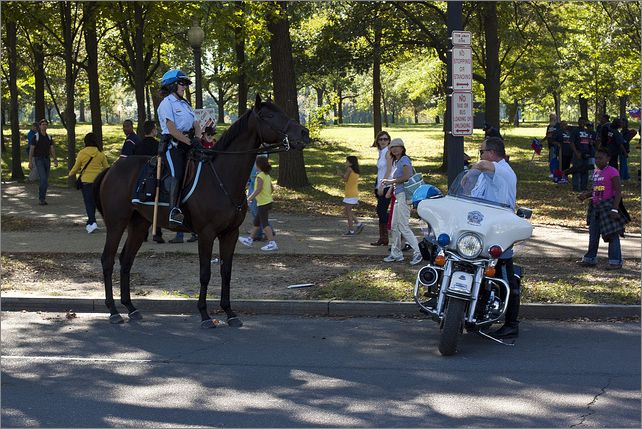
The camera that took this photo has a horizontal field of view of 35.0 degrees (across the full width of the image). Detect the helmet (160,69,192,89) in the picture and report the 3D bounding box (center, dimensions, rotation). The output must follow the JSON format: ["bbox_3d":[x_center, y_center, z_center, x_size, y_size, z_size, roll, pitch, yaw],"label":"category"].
[{"bbox_3d":[-3.299,-3.112,23.009,0.635,0.242,0.385,-3,6,-9],"label":"helmet"}]

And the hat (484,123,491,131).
[{"bbox_3d":[4.298,-2.271,26.242,0.211,0.113,0.250,-3,12,-5],"label":"hat"}]

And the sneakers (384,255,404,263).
[{"bbox_3d":[1.870,1.138,26.229,0.521,0.173,0.190,2,10,-1],"label":"sneakers"}]

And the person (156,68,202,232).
[{"bbox_3d":[-3.128,-1.571,23.194,1.510,3.360,1.167,0,9,-4],"label":"person"}]

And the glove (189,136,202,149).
[{"bbox_3d":[-2.847,-1.646,22.966,0.281,0.241,0.201,-1,6,-6],"label":"glove"}]

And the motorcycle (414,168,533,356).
[{"bbox_3d":[3.159,0.998,21.628,2.268,3.884,1.156,0,7,4],"label":"motorcycle"}]

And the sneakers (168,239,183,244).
[{"bbox_3d":[-4.164,0.734,28.777,0.434,0.132,0.131,2,6,8],"label":"sneakers"}]

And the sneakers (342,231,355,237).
[{"bbox_3d":[0.812,0.539,29.401,0.376,0.117,0.115,2,3,12],"label":"sneakers"}]

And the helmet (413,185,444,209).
[{"bbox_3d":[2.266,-0.450,22.182,0.756,0.304,0.392,-9,13,-6],"label":"helmet"}]

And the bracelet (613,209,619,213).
[{"bbox_3d":[7.335,-0.103,25.198,0.166,0.098,0.100,-1,6,-3],"label":"bracelet"}]

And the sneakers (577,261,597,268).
[{"bbox_3d":[6.752,1.227,25.778,0.506,0.181,0.156,9,6,12],"label":"sneakers"}]

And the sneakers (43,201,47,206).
[{"bbox_3d":[-9.420,-0.429,34.441,0.143,0.138,0.292,-2,5,-14],"label":"sneakers"}]

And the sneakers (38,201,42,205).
[{"bbox_3d":[-9.572,-0.396,34.430,0.140,0.129,0.052,-16,-40,2],"label":"sneakers"}]

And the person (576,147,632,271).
[{"bbox_3d":[7.151,-0.160,25.433,0.981,2.992,0.414,3,8,31],"label":"person"}]

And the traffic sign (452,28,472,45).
[{"bbox_3d":[3.346,-4.260,24.288,0.663,0.343,0.081,-2,3,-10],"label":"traffic sign"}]

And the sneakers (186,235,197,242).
[{"bbox_3d":[-3.690,0.678,29.004,0.204,0.196,0.568,1,2,-40],"label":"sneakers"}]

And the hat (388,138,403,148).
[{"bbox_3d":[1.890,-1.856,26.274,0.350,0.125,0.300,1,0,32],"label":"hat"}]
